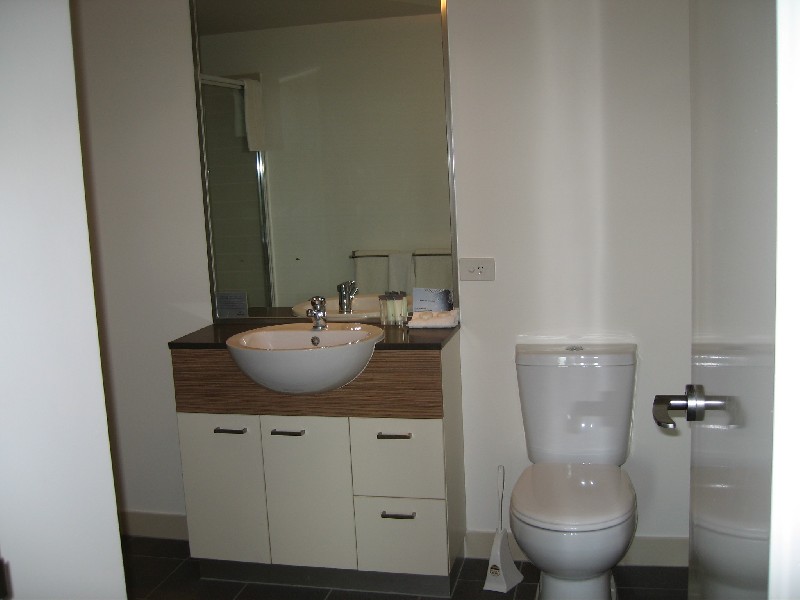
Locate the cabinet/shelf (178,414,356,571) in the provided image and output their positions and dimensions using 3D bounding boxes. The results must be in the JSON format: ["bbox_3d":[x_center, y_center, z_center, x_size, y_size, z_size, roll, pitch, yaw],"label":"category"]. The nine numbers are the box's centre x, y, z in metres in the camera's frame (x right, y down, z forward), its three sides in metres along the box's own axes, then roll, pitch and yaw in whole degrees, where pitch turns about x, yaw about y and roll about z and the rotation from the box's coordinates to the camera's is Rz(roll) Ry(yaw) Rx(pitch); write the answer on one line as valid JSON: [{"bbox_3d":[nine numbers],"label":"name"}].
[{"bbox_3d":[-0.468,0.690,2.489,0.594,0.563,0.320,0,4,14],"label":"cabinet/shelf"}]

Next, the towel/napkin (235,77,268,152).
[{"bbox_3d":[-0.636,-0.769,2.679,0.096,0.312,0.142,2,23,-10],"label":"towel/napkin"}]

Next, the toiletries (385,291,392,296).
[{"bbox_3d":[-0.048,-0.026,2.611,0.017,0.018,0.022,0,-1,12],"label":"toiletries"}]

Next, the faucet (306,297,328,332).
[{"bbox_3d":[-0.323,0.054,2.551,0.114,0.185,0.117,-1,4,-12],"label":"faucet"}]

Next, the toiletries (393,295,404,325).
[{"bbox_3d":[-0.005,0.043,2.562,0.038,0.105,0.014,-6,8,-33],"label":"toiletries"}]

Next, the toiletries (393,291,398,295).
[{"bbox_3d":[-0.020,-0.028,2.602,0.015,0.012,0.016,3,-12,3],"label":"toiletries"}]

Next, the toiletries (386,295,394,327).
[{"bbox_3d":[-0.042,0.045,2.555,0.028,0.108,0.015,-1,7,5],"label":"toiletries"}]

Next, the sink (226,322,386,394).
[{"bbox_3d":[-0.294,0.193,2.263,0.356,0.142,0.302,-1,2,5],"label":"sink"}]
